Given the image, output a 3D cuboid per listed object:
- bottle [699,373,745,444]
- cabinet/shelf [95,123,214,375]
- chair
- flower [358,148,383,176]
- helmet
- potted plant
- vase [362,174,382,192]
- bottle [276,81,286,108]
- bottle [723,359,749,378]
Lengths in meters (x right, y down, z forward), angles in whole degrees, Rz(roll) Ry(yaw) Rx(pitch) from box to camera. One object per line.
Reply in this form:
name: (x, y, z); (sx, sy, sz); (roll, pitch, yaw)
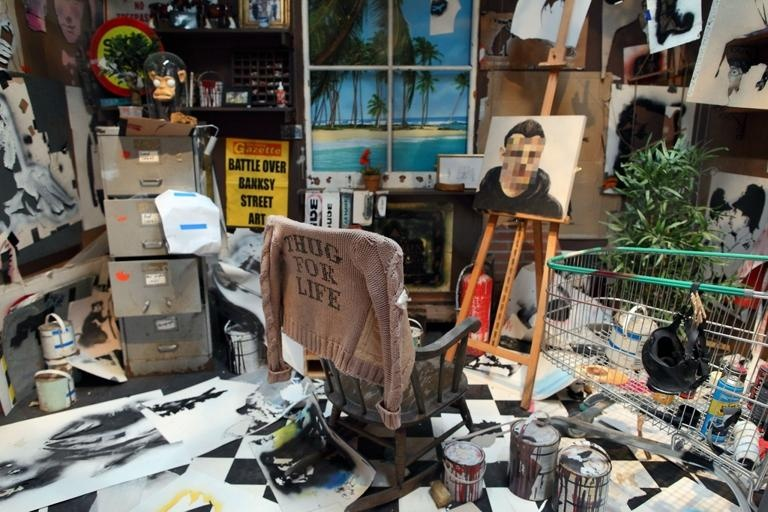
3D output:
bottle: (1.723, 0.788, 2.631); (0.145, 0.347, 0.324); (9, 17, 35)
cabinet/shelf: (-1.639, -0.040, 3.827); (0.771, 1.896, 0.396); (-9, 16, -28)
chair: (-0.087, 0.582, 2.979); (1.168, 1.653, 0.654); (2, 15, 13)
flower: (-0.128, -0.806, 4.375); (0.153, 0.217, 0.285); (-3, 14, -8)
helmet: (1.456, 0.429, 2.528); (0.329, 0.578, 0.206); (-5, 15, -13)
potted plant: (-2.125, -1.633, 4.287); (0.479, 0.442, 0.151); (1, 15, 11)
vase: (-0.094, -0.616, 4.348); (0.145, 0.117, 0.145); (4, 7, 43)
bottle: (-0.859, -1.349, 4.268); (0.090, 0.208, 0.141); (-4, 15, -11)
bottle: (1.833, 0.579, 2.688); (0.102, 0.108, 0.110); (-1, 7, 6)
